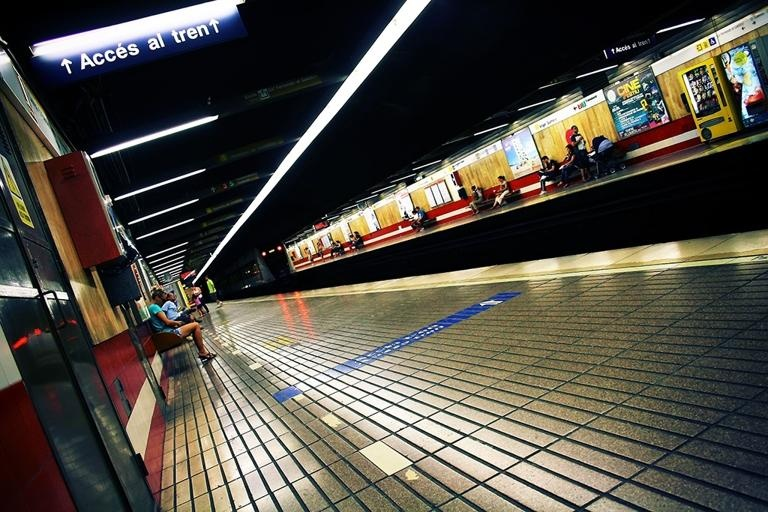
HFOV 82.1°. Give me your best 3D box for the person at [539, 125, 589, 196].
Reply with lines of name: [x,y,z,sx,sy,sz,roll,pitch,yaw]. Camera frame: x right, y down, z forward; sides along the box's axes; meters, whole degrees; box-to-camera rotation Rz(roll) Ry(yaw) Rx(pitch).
person: [5.720,-2.954,13.584,1.614,2.415,1.042,-2,-6,3]

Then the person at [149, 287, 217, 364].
person: [-3.924,1.340,8.616,1.218,1.463,0.659,-3,-12,-43]

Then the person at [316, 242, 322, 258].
person: [-5.167,-0.568,35.566,0.376,1.088,1.158,-3,11,-20]

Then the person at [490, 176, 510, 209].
person: [4.490,-2.476,16.737,0.764,1.060,0.308,-15,4,18]

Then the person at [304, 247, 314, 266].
person: [-6.409,-0.082,38.343,0.830,1.247,0.534,-13,-7,37]

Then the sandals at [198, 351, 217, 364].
sandals: [-3.195,1.843,8.049,0.219,0.223,0.406,-17,4,-26]

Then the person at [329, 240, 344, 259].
person: [-3.281,-0.527,30.829,0.642,1.136,2.360,-18,4,-17]

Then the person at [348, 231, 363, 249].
person: [-1.720,-1.078,28.776,0.555,1.139,1.449,-18,4,-26]
